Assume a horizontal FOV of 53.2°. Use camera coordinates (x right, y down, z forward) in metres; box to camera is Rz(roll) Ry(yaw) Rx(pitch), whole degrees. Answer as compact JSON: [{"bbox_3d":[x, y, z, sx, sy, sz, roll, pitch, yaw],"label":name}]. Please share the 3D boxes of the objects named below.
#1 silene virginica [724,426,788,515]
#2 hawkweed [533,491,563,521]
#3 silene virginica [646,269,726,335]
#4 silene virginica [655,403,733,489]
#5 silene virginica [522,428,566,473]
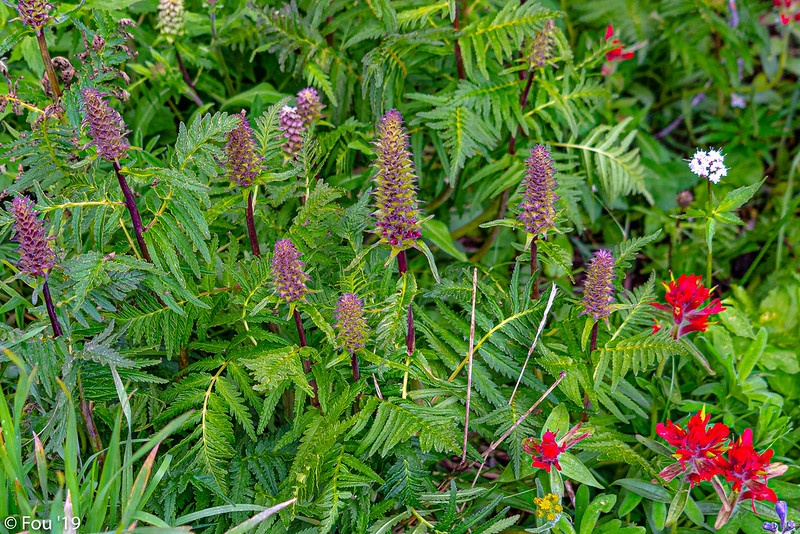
[{"bbox_3d":[1.779,1.046,4.199,0.346,0.272,0.388,29,88,17],"label":"silene virginica"},{"bbox_3d":[0.781,1.254,4.214,0.113,0.148,0.157,14,13,5],"label":"hawkweed"},{"bbox_3d":[1.580,0.295,4.440,0.356,0.536,0.352,-7,45,11],"label":"silene virginica"},{"bbox_3d":[1.531,0.918,4.168,0.362,0.309,0.347,-3,48,16],"label":"silene virginica"},{"bbox_3d":[0.756,0.970,4.173,0.214,0.181,0.142,-10,45,10],"label":"silene virginica"}]
